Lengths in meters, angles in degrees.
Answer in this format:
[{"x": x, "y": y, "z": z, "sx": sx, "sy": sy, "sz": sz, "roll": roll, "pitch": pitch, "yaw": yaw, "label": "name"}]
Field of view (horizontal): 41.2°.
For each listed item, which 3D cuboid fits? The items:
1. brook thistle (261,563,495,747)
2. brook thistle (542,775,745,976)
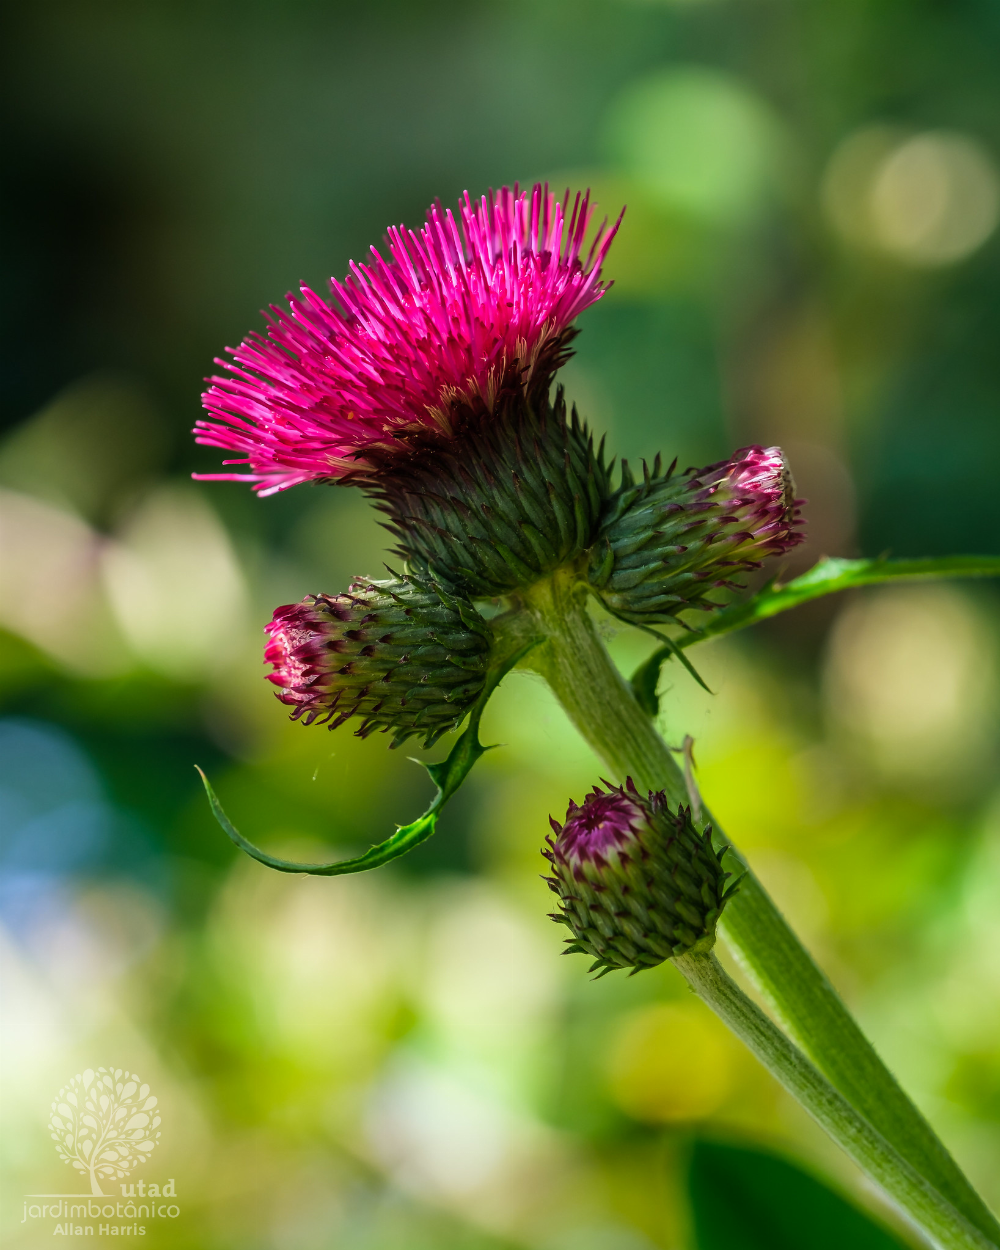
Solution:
[{"x": -0.115, "y": 0.053, "z": 1.513, "sx": 0.269, "sy": 0.157, "sz": 0.212, "roll": -2, "pitch": 1, "yaw": -1, "label": "brook thistle"}, {"x": 0.136, "y": 0.261, "z": 1.440, "sx": 0.234, "sy": 0.190, "sz": 0.203, "roll": -14, "pitch": 30, "yaw": 14, "label": "brook thistle"}]
